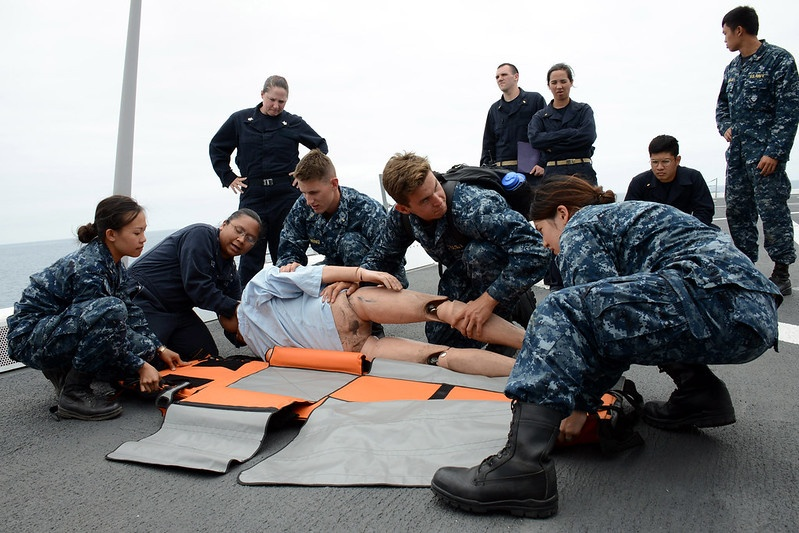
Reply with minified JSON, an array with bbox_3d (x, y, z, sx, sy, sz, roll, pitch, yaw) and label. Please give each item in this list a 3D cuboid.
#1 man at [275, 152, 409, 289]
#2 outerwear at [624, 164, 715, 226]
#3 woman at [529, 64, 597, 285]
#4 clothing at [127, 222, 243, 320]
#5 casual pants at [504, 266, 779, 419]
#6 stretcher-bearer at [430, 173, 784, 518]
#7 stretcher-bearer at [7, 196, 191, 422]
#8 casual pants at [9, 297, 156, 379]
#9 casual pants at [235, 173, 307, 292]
[{"bbox_3d":[-0.424,-0.394,3.948,0.999,1.101,1.041,7,19,33],"label":"man"},{"bbox_3d":[2.193,-0.499,4.124,0.673,0.595,0.481,0,19,31],"label":"outerwear"},{"bbox_3d":[1.532,-0.862,4.641,0.716,1.811,0.541,-3,6,22],"label":"woman"},{"bbox_3d":[-1.390,0.061,3.574,1.052,0.660,0.599,1,-12,14],"label":"clothing"},{"bbox_3d":[1.063,0.279,1.956,0.428,0.556,0.230,12,48,-20],"label":"casual pants"},{"bbox_3d":[0.918,0.210,2.108,1.524,1.216,0.999,-4,-6,-37],"label":"stretcher-bearer"},{"bbox_3d":[-1.527,0.176,3.405,1.259,1.394,1.186,2,3,-6],"label":"stretcher-bearer"},{"bbox_3d":[-1.720,0.395,2.822,0.636,0.275,0.603,12,0,-16],"label":"casual pants"},{"bbox_3d":[-1.182,-0.323,4.440,0.512,1.071,0.322,-21,40,-31],"label":"casual pants"}]
